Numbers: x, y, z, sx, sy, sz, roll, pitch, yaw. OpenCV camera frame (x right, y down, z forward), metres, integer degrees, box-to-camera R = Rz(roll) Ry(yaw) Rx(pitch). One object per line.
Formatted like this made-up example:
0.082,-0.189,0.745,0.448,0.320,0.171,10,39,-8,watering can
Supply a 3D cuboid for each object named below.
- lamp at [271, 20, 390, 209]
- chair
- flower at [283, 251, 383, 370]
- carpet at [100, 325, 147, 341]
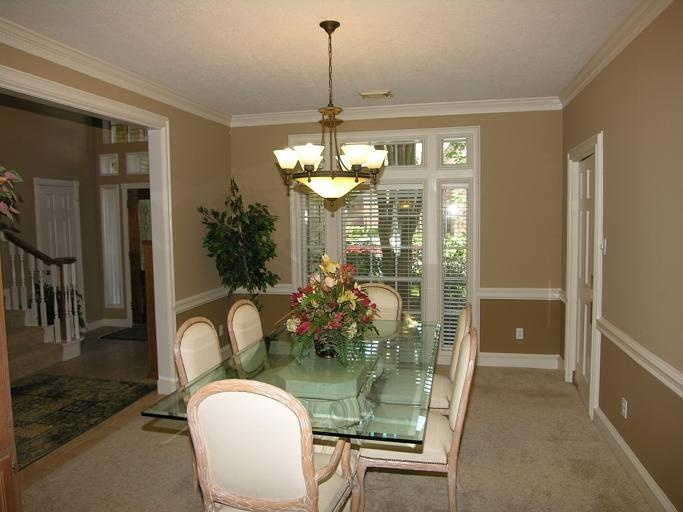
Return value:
-0.083,-1.108,3.657,0.897,1.242,0.834,-4,9,-22,lamp
-0.043,0.962,3.844,2.112,1.355,1.297,1,4,12,chair
-0.005,0.373,3.603,0.755,0.766,0.770,1,2,12,flower
-3.378,1.212,7.393,0.651,0.034,0.967,-5,10,-24,carpet
